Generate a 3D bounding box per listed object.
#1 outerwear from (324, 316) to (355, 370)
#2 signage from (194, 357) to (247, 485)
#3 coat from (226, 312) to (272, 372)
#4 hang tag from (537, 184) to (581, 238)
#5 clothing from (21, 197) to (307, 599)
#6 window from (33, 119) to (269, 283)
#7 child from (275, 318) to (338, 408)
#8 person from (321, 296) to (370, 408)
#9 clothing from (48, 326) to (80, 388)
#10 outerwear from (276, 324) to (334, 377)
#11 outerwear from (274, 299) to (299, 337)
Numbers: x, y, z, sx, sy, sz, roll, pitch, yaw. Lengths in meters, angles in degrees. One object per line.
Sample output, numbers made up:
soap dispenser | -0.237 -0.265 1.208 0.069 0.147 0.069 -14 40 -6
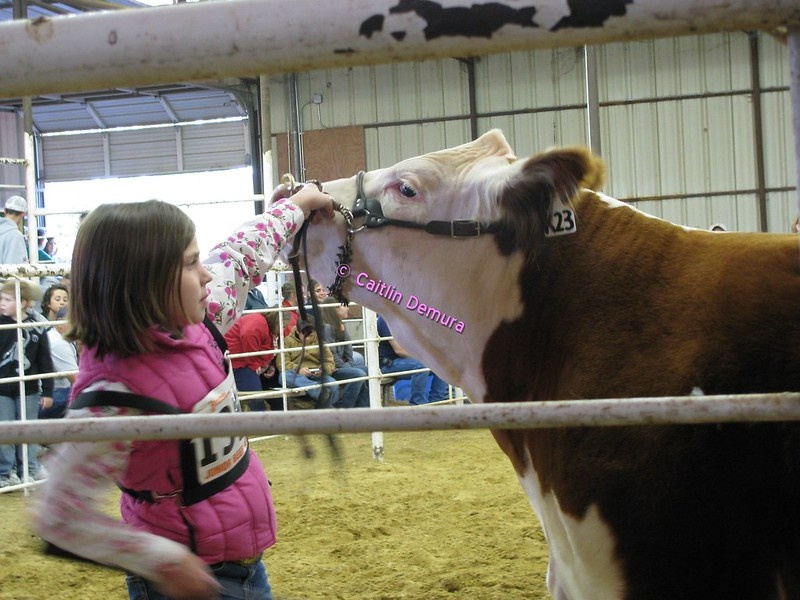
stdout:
outerwear | -0.515 0.375 10.571 0.248 0.458 0.331 2 16 19
signage | -0.737 0.515 5.171 0.063 0.368 0.467 -9 7 19
coat | -1.194 0.276 10.079 0.408 0.443 0.413 10 18 -17
hang tag | 0.657 -0.377 5.425 0.196 0.232 0.031 -3 -5 16
clothing | -0.968 0.450 5.298 0.847 1.682 0.960 -1 9 2
window | -2.353 -1.134 12.620 2.269 1.734 0.185 -4 -4 11
child | -0.733 0.481 10.068 0.474 0.783 0.529 3 -13 -21
person | -0.496 0.481 10.808 0.461 0.984 0.402 4 17 5
clothing | -2.430 0.459 9.281 0.279 0.500 0.488 -1 -5 -9
outerwear | -0.747 0.446 10.218 0.411 0.427 0.320 3 12 -7
outerwear | -0.887 0.159 9.968 0.168 0.275 0.295 0 6 10
